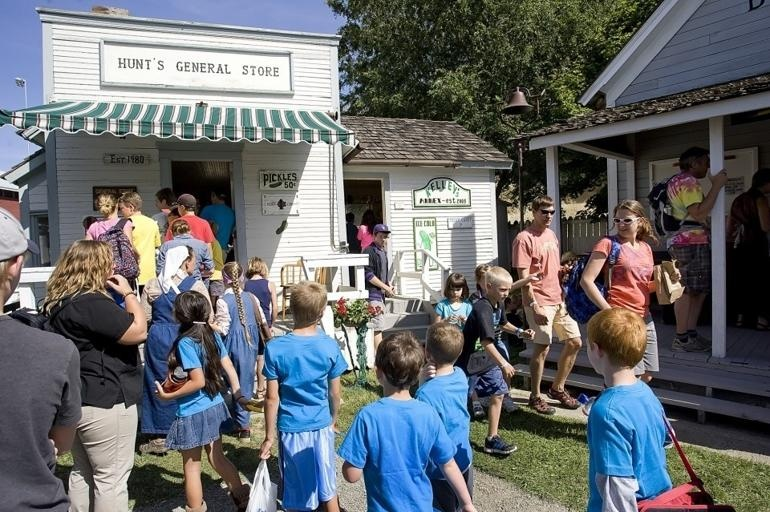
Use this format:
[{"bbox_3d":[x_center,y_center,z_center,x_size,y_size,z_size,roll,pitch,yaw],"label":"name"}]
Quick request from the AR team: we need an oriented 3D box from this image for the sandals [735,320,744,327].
[{"bbox_3d":[5.491,1.053,10.537,0.045,0.056,0.133,4,7,14],"label":"sandals"}]

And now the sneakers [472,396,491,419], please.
[{"bbox_3d":[1.277,2.050,9.163,0.142,0.206,0.442,-1,-11,-5],"label":"sneakers"}]

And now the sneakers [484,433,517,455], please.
[{"bbox_3d":[1.368,2.237,8.074,0.381,0.214,0.176,0,2,6],"label":"sneakers"}]

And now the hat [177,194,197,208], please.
[{"bbox_3d":[-3.015,-0.853,10.325,0.253,0.153,0.181,25,26,21],"label":"hat"}]

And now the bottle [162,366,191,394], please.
[{"bbox_3d":[-2.076,1.255,6.828,0.163,0.221,0.120,37,-16,-9],"label":"bottle"}]

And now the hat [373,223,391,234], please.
[{"bbox_3d":[-0.072,-0.444,10.901,0.160,0.114,0.220,1,-8,-36],"label":"hat"}]

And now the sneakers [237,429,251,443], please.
[{"bbox_3d":[-1.778,2.298,8.655,0.100,0.121,0.169,4,-3,-25],"label":"sneakers"}]

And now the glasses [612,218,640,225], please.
[{"bbox_3d":[2.705,-0.389,7.661,0.238,0.062,0.101,1,1,23],"label":"glasses"}]

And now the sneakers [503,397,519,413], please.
[{"bbox_3d":[1.663,1.997,9.091,0.150,0.136,0.301,-1,-3,-15],"label":"sneakers"}]

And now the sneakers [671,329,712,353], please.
[{"bbox_3d":[4.170,1.183,9.284,0.518,0.242,0.232,-2,3,9],"label":"sneakers"}]

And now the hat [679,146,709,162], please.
[{"bbox_3d":[4.159,-1.361,9.182,0.313,0.213,0.413,1,1,28],"label":"hat"}]

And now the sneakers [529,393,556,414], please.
[{"bbox_3d":[2.059,1.956,8.984,0.171,0.170,0.350,-6,6,-39],"label":"sneakers"}]

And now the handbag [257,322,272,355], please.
[{"bbox_3d":[-1.671,1.163,9.328,0.320,0.451,0.465,1,-5,-7],"label":"handbag"}]

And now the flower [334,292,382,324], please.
[{"bbox_3d":[-0.454,0.902,10.929,0.533,0.339,0.479,0,8,6],"label":"flower"}]
